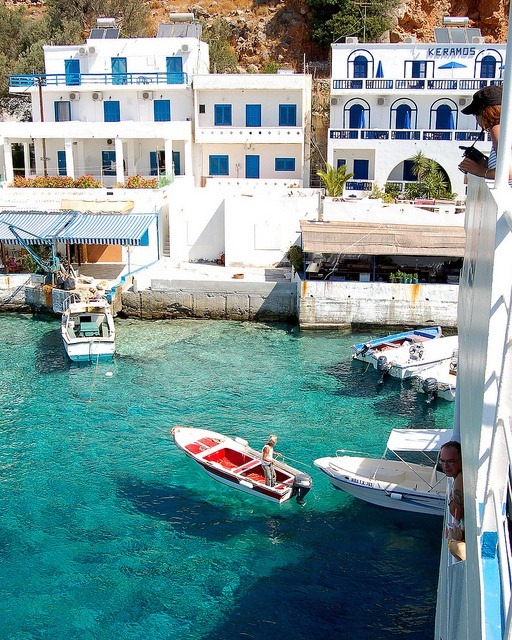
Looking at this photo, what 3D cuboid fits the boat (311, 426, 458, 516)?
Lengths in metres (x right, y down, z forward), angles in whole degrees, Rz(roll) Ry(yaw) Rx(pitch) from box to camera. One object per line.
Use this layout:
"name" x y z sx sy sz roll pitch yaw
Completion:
"boat" 3.339 3.479 16.831 3.956 1.882 1.790 3 30 17

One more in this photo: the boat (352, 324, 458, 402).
"boat" 6.092 1.385 26.488 2.839 0.927 2.819 -19 28 -38

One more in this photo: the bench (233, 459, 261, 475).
"bench" -0.266 3.728 17.484 0.290 0.233 0.912 5 11 39

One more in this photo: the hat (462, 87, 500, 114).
"hat" 1.890 -1.818 5.915 0.317 0.164 0.221 -2 27 19

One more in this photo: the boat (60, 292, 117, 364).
"boat" -6.967 0.738 28.806 1.673 1.537 3.639 -1 29 -14

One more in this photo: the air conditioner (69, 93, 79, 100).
"air conditioner" -11.819 -14.363 45.084 0.509 0.433 0.559 0 9 14

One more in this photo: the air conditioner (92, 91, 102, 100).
"air conditioner" -10.191 -14.221 44.669 0.747 0.637 0.380 1 8 -3

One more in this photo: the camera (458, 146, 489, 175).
"camera" 1.958 -1.487 6.393 0.303 0.230 0.095 21 -12 24

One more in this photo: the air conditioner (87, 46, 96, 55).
"air conditioner" -10.479 -17.049 44.288 0.408 0.401 0.403 -2 23 -7

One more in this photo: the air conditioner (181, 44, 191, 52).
"air conditioner" -4.475 -17.049 43.888 0.590 0.424 0.205 -1 9 4

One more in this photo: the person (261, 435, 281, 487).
"person" 0.294 3.346 16.632 0.350 1.225 0.632 -2 9 1

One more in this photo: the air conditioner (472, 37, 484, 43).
"air conditioner" 13.587 -17.016 42.666 0.487 0.296 0.509 -6 18 -5

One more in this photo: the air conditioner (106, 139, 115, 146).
"air conditioner" -9.363 -11.285 44.623 0.343 0.328 0.816 -4 9 -13

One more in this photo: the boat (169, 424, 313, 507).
"boat" -0.526 3.804 17.723 3.815 0.910 1.461 23 35 33

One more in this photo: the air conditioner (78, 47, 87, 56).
"air conditioner" -11.029 -16.984 44.387 0.366 0.513 0.165 0 41 -1
